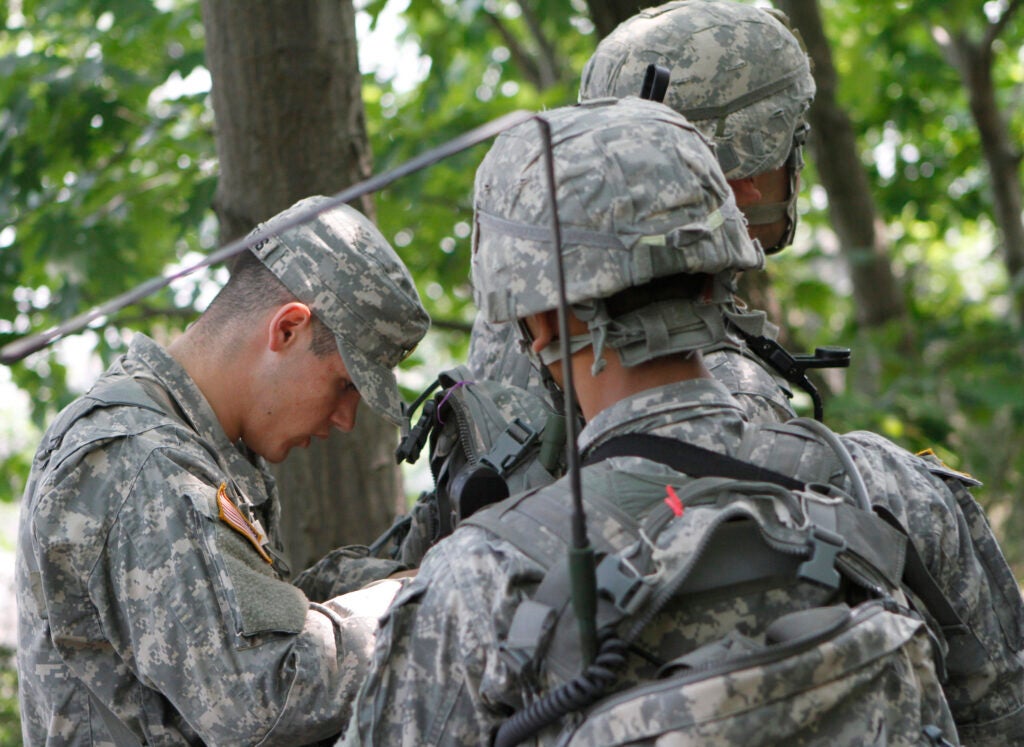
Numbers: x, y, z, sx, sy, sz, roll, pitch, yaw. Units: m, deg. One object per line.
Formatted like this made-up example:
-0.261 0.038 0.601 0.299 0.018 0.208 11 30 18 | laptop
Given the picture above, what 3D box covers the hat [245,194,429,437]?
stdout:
-0.757 -0.397 10.326 0.578 0.787 1.183 -35 -80 11 | hat
